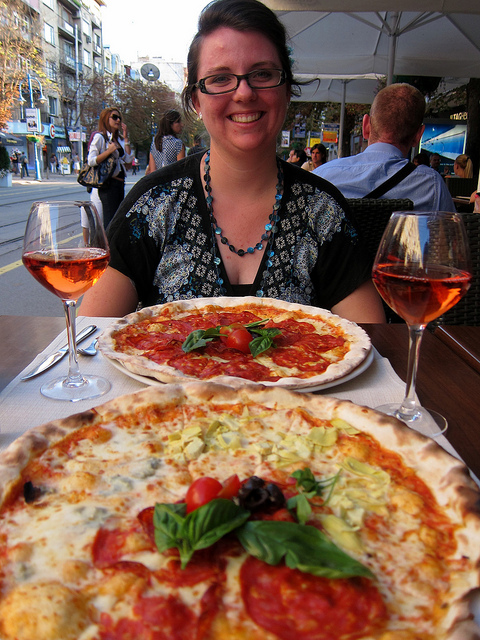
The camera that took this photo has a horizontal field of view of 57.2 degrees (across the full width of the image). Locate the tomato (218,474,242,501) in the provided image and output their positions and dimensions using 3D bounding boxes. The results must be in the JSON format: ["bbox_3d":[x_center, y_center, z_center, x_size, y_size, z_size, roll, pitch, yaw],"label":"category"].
[{"bbox_3d":[-0.014,0.245,0.645,0.023,0.018,0.031,12,12,6],"label":"tomato"}]

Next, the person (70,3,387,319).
[{"bbox_3d":[-0.007,-0.829,2.266,1.478,1.503,0.758,0,19,-4],"label":"person"}]

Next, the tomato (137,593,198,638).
[{"bbox_3d":[-0.090,0.353,0.521,0.079,0.014,0.049,3,18,4],"label":"tomato"}]

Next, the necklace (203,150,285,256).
[{"bbox_3d":[0.028,-0.617,2.426,0.456,0.481,0.324,0,19,-4],"label":"necklace"}]

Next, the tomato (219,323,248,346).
[{"bbox_3d":[-0.033,0.044,1.449,0.070,0.041,0.071,-1,21,2],"label":"tomato"}]

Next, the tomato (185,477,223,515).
[{"bbox_3d":[-0.052,0.236,0.613,0.044,0.050,0.045,14,-1,24],"label":"tomato"}]
